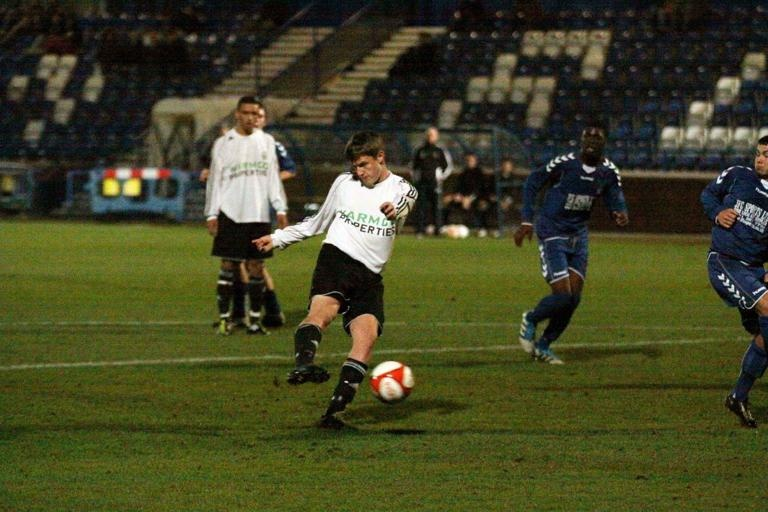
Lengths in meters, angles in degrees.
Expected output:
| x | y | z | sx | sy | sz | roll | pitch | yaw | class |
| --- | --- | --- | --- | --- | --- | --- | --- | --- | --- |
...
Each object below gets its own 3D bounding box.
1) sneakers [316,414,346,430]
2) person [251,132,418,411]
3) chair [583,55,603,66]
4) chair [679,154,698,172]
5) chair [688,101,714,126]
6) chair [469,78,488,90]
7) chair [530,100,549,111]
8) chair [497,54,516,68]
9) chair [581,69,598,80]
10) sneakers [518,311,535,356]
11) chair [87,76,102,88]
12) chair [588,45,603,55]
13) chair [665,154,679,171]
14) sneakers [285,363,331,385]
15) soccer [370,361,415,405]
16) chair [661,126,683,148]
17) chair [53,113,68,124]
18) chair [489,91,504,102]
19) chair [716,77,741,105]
| x | y | z | sx | sy | sz | roll | pitch | yaw | class |
| --- | --- | --- | --- | --- | --- | --- | --- | --- | --- |
| -0.583 | 1.874 | 16.067 | 0.298 | 0.163 | 0.217 | -1 | 7 | -25 | sneakers |
| -0.452 | 0.202 | 16.226 | 1.554 | 3.256 | 1.060 | 3 | 7 | -5 | person |
| 4.814 | -4.509 | 32.418 | 0.183 | 0.262 | 0.550 | -3 | 8 | -40 | chair |
| 6.519 | -2.025 | 30.288 | 0.457 | 0.353 | 0.784 | 4 | 7 | 12 | chair |
| 6.998 | -3.153 | 31.203 | 0.511 | 0.540 | 0.375 | 5 | 7 | 18 | chair |
| 2.249 | -4.094 | 33.382 | 0.208 | 0.275 | 0.582 | -3 | 8 | -39 | chair |
| 3.601 | -3.479 | 32.535 | 0.525 | 0.202 | 0.121 | -1 | -8 | 23 | chair |
| 2.895 | -4.598 | 33.117 | 0.504 | 0.314 | 0.229 | 3 | 7 | 5 | chair |
| 4.740 | -4.166 | 32.301 | 0.475 | 0.262 | 0.154 | 8 | 9 | 40 | chair |
| 1.835 | 0.982 | 17.934 | 0.197 | 0.560 | 0.258 | 4 | 7 | 5 | sneakers |
| -5.332 | -3.212 | 25.984 | 0.324 | 0.187 | 0.702 | 1 | 6 | -11 | chair |
| 4.877 | -4.764 | 32.505 | 0.141 | 0.126 | 0.503 | 0 | 7 | -25 | chair |
| 6.168 | -2.008 | 30.282 | 0.245 | 0.293 | 0.494 | 4 | 7 | 10 | chair |
| -0.868 | 1.339 | 15.938 | 0.602 | 0.230 | 0.190 | 3 | -20 | -3 | sneakers |
| 0.086 | 1.498 | 16.404 | 0.537 | 0.446 | 0.556 | -6 | 6 | 44 | soccer |
| 6.277 | -2.591 | 30.816 | 0.519 | 0.486 | 0.464 | 3 | 7 | 3 | chair |
| -5.610 | -2.376 | 24.386 | 0.275 | 0.185 | 0.266 | 3 | 7 | 1 | chair |
| 2.633 | -3.719 | 33.008 | 0.371 | 0.275 | 0.231 | -1 | -10 | 18 | chair |
| 7.657 | -3.673 | 31.379 | 0.520 | 0.614 | 0.506 | 4 | 7 | 12 | chair |
